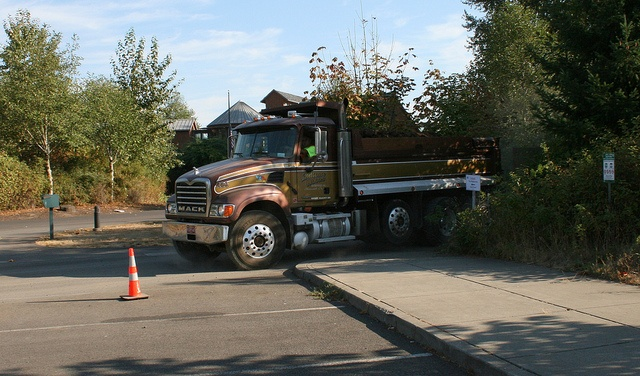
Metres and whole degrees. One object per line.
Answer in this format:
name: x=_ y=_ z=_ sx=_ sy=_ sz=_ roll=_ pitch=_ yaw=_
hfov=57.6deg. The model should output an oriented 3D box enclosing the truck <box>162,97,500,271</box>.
truck: x=0.722 y=-0.371 z=21.488 sx=12.124 sy=4.670 sz=4.630 roll=-4 pitch=7 yaw=-38
